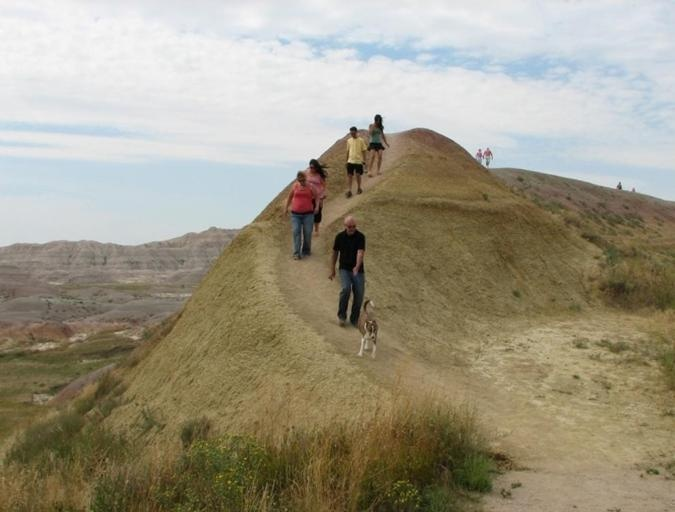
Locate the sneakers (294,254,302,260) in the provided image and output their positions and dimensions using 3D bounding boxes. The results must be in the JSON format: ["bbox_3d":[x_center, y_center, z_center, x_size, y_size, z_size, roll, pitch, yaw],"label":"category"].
[{"bbox_3d":[-1.187,0.030,18.127,0.258,0.137,0.200,6,-21,-8],"label":"sneakers"}]

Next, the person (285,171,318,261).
[{"bbox_3d":[-1.027,-1.122,17.469,0.740,2.744,1.098,1,15,-6],"label":"person"}]
